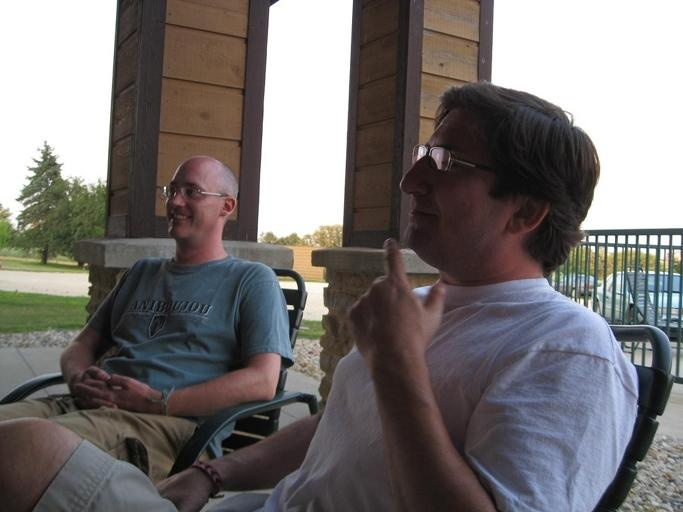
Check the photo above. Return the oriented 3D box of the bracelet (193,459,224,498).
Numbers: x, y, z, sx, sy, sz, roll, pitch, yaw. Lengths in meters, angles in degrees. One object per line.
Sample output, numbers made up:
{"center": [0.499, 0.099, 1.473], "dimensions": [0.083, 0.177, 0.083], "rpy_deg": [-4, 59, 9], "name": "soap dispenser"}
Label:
{"center": [-0.368, 0.606, 1.530], "dimensions": [0.084, 0.033, 0.092], "rpy_deg": [39, 14, -52], "name": "bracelet"}
